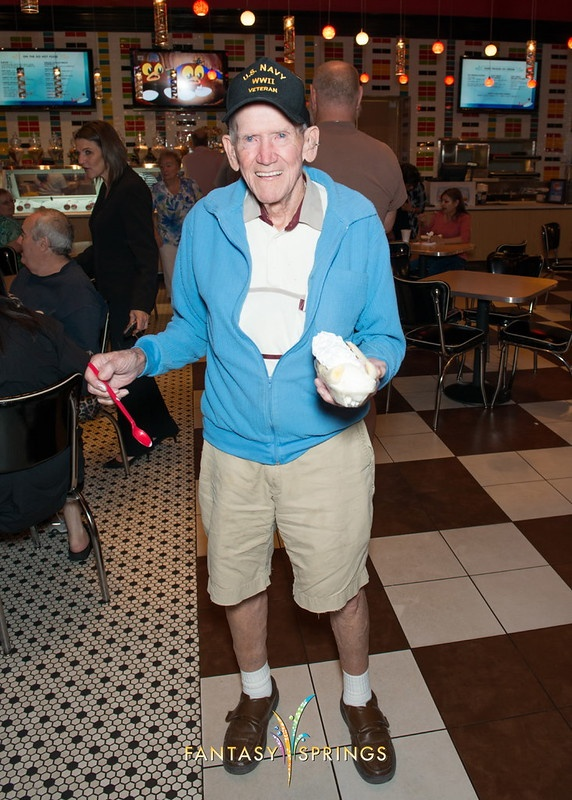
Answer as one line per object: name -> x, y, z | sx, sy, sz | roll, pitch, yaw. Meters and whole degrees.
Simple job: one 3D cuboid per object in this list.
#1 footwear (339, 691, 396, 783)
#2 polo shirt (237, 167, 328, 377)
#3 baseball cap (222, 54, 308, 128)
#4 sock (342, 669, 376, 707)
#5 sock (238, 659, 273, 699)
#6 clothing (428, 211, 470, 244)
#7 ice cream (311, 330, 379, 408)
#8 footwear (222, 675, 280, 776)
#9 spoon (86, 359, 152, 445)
footwear -> 0.195, 0.799, 1.420 | 0.083, 0.072, 0.202 | -1, 13, -6
polo shirt -> -0.008, -0.221, 1.069 | 0.151, 0.321, 0.160 | 0, 22, 3
baseball cap -> -0.036, -0.487, 0.930 | 0.095, 0.077, 0.135 | 0, 31, 5
sock -> 0.164, 0.675, 1.398 | 0.066, 0.096, 0.102 | -5, -15, 0
sock -> -0.072, 0.673, 1.433 | 0.078, 0.088, 0.093 | -7, -23, -4
clothing -> 1.735, -1.812, 6.253 | 0.472, 0.430, 0.256 | 14, 29, 34
ice cream -> 0.094, -0.042, 0.884 | 0.084, 0.054, 0.140 | -1, 33, -4
footwear -> -0.084, 0.799, 1.446 | 0.081, 0.078, 0.203 | 0, 13, 12
spoon -> -0.580, 0.029, 2.077 | 0.071, 0.443, 0.061 | -30, -13, -13
